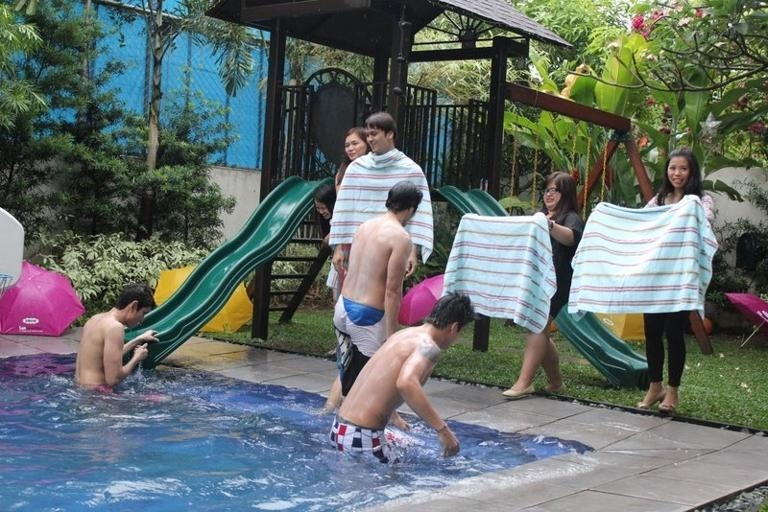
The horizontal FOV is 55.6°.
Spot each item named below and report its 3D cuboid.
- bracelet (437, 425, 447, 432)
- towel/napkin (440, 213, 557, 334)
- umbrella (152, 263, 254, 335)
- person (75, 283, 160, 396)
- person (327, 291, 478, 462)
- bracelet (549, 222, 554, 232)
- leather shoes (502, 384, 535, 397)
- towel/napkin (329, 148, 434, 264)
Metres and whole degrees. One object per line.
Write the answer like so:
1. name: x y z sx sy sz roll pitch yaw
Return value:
1. bracelet: 0.424 1.253 5.315 0.025 0.066 0.056 50 14 12
2. towel/napkin: 1.161 0.134 7.253 1.077 1.132 0.400 6 9 31
3. umbrella: -2.414 0.624 9.774 1.110 0.509 0.918 9 24 16
4. person: -2.650 0.863 7.280 0.651 1.206 0.521 -1 26 -43
5. person: 0.105 0.929 5.371 1.048 1.269 0.446 2 8 6
6. bracelet: 1.617 -0.295 7.045 0.048 0.072 0.026 -3 -4 35
7. leather shoes: 1.319 1.313 7.133 0.305 0.129 0.113 3 -3 -26
8. towel/napkin: -0.040 -0.462 6.998 1.120 1.184 0.365 -2 -32 12
